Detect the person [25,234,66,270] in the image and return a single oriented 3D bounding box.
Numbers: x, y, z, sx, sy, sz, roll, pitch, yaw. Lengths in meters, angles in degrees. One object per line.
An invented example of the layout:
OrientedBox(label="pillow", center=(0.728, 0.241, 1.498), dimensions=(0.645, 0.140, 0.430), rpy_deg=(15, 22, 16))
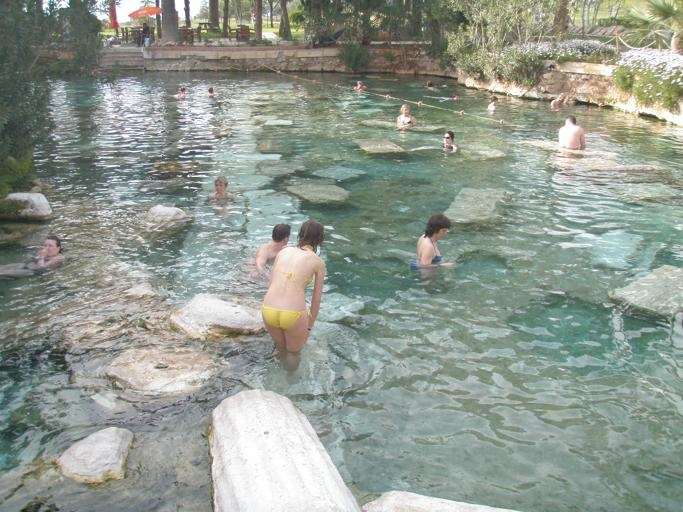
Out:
OrientedBox(label="person", center=(-5.504, -0.079, 9.917), dimensions=(0.615, 0.536, 0.757), rpy_deg=(-5, 15, -19))

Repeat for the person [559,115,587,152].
OrientedBox(label="person", center=(7.547, -3.963, 17.433), dimensions=(0.582, 1.100, 0.730), rpy_deg=(1, 16, 2))

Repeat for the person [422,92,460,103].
OrientedBox(label="person", center=(5.217, -8.386, 28.469), dimensions=(2.151, 0.306, 0.873), rpy_deg=(10, 12, 41))

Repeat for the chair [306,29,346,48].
OrientedBox(label="chair", center=(-1.169, -17.420, 42.973), dimensions=(2.633, 1.543, 1.042), rpy_deg=(-2, 16, -9))

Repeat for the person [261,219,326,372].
OrientedBox(label="person", center=(-0.653, 0.538, 7.333), dimensions=(0.865, 2.011, 0.571), rpy_deg=(-3, 18, -10))

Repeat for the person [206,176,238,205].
OrientedBox(label="person", center=(-2.931, -1.579, 13.039), dimensions=(0.654, 0.645, 0.801), rpy_deg=(-3, 14, -10))

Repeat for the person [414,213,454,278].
OrientedBox(label="person", center=(1.738, -0.281, 9.992), dimensions=(0.754, 1.112, 1.158), rpy_deg=(3, 15, 10))
